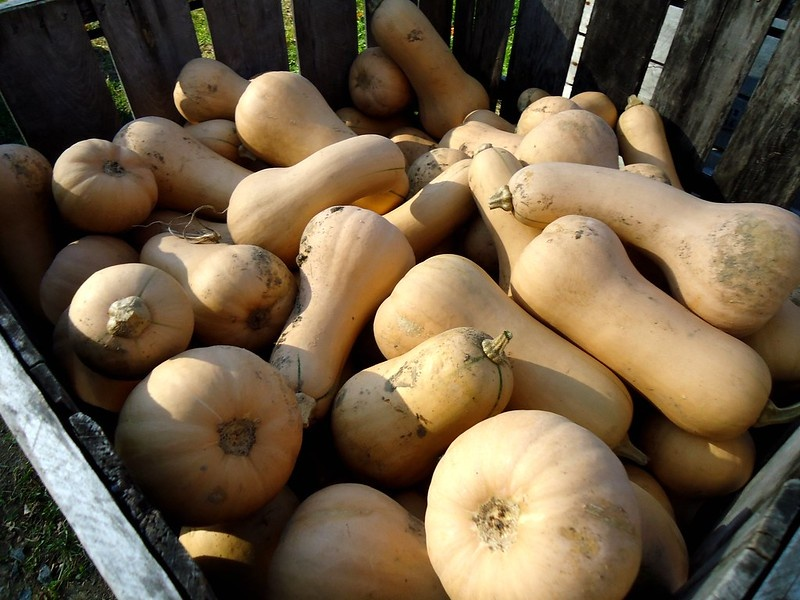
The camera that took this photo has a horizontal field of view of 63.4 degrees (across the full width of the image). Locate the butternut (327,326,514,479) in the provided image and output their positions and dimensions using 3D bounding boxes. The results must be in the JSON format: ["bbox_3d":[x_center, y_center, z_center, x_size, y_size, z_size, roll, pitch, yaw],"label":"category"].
[{"bbox_3d":[0.119,0.307,2.267,0.647,0.372,0.380,-32,80,16],"label":"butternut"}]

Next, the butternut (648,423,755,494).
[{"bbox_3d":[1.043,0.555,2.270,0.362,0.225,0.178,9,46,7],"label":"butternut"}]
